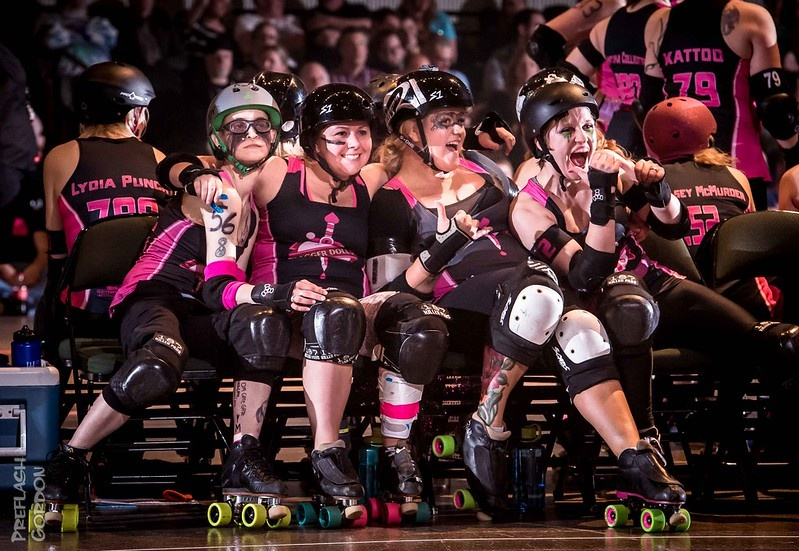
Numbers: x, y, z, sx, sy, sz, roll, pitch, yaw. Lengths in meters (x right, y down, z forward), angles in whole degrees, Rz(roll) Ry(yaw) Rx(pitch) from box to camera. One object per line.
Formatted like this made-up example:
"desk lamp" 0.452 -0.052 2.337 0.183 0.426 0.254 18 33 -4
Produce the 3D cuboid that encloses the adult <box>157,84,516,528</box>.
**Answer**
"adult" -0.367 0.002 4.236 1.417 2.002 1.264 2 3 32

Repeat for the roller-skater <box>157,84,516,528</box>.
"roller-skater" -0.320 0.014 4.204 1.486 1.973 1.267 2 2 39

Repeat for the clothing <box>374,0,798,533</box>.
"clothing" 0.727 0.062 4.727 2.231 2.666 2.004 -3 -6 -32

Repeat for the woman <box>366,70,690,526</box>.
"woman" 0.491 0.008 4.225 1.286 2.194 0.503 -8 -17 22

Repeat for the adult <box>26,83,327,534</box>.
"adult" -1.025 0.075 4.189 1.176 2.097 1.059 9 -5 -26

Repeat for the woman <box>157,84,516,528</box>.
"woman" -0.354 0.007 4.200 1.400 1.981 1.270 3 3 41

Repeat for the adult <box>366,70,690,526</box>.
"adult" 0.492 0.008 4.224 1.287 2.194 0.503 -8 -17 22

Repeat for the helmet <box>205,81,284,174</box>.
"helmet" -0.763 -0.693 4.349 0.369 0.498 0.478 -11 -17 -12

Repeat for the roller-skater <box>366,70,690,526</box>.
"roller-skater" 0.490 0.008 4.223 1.285 2.194 0.500 -8 -17 22

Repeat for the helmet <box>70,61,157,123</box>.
"helmet" -1.637 -1.066 5.067 0.435 0.348 0.350 -4 24 -36

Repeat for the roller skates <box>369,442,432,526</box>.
"roller skates" 0.001 0.987 4.194 0.259 0.320 0.529 9 -9 -13

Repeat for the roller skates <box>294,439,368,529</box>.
"roller skates" -0.304 0.950 4.003 0.232 0.343 0.441 8 -6 -30

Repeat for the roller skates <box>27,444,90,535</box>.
"roller skates" -1.516 0.973 3.885 0.156 0.224 0.476 3 -4 -10
